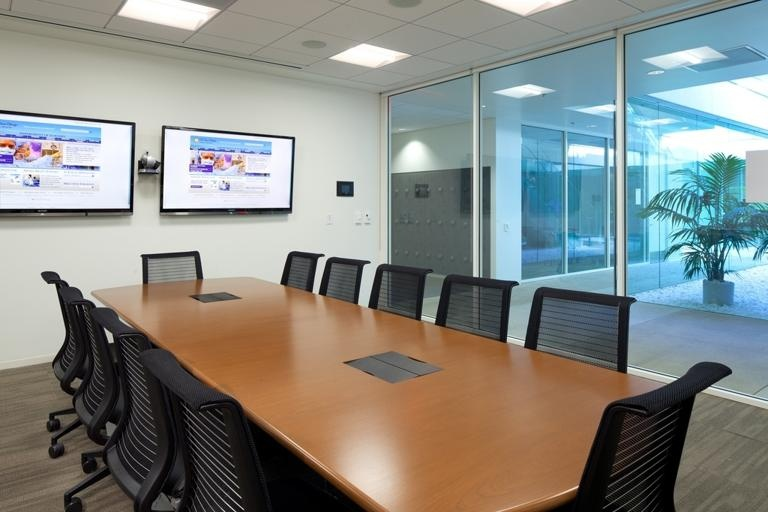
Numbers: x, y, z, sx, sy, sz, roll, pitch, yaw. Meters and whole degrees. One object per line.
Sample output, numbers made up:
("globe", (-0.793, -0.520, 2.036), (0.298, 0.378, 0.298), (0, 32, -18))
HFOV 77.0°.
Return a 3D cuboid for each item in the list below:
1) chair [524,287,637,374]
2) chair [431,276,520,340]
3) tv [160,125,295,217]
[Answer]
("chair", (1.355, 0.444, 3.274), (0.295, 0.449, 0.655), (-17, 15, -38))
("chair", (0.700, 0.380, 3.855), (0.624, 0.457, 0.224), (11, -7, -24))
("tv", (-2.161, -1.184, 6.473), (1.448, 0.849, 0.055), (-2, 10, -35))
